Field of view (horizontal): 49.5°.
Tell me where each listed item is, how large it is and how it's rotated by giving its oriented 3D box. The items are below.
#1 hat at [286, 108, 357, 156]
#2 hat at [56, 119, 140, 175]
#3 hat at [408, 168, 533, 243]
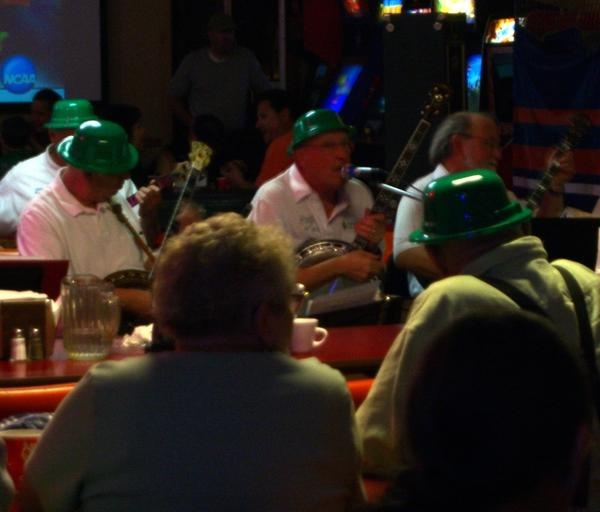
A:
[{"bbox_3d":[0.110,-0.732,3.800,0.336,0.127,0.248,-23,-12,28],"label":"hat"},{"bbox_3d":[-1.154,-0.610,3.692,0.421,0.280,0.303,0,8,-17],"label":"hat"},{"bbox_3d":[0.511,-0.147,1.956,0.294,0.130,0.230,-16,8,-14],"label":"hat"}]
